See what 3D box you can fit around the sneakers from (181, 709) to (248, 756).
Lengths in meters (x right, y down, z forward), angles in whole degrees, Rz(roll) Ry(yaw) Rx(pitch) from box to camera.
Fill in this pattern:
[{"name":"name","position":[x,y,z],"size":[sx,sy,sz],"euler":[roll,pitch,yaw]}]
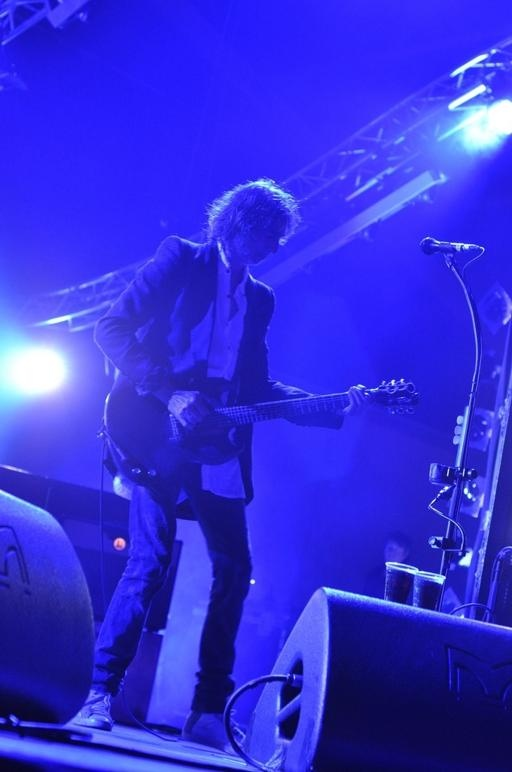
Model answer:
[{"name":"sneakers","position":[-0.147,1.109,2.535],"size":[0.173,0.108,0.183],"euler":[12,-25,-1]}]
